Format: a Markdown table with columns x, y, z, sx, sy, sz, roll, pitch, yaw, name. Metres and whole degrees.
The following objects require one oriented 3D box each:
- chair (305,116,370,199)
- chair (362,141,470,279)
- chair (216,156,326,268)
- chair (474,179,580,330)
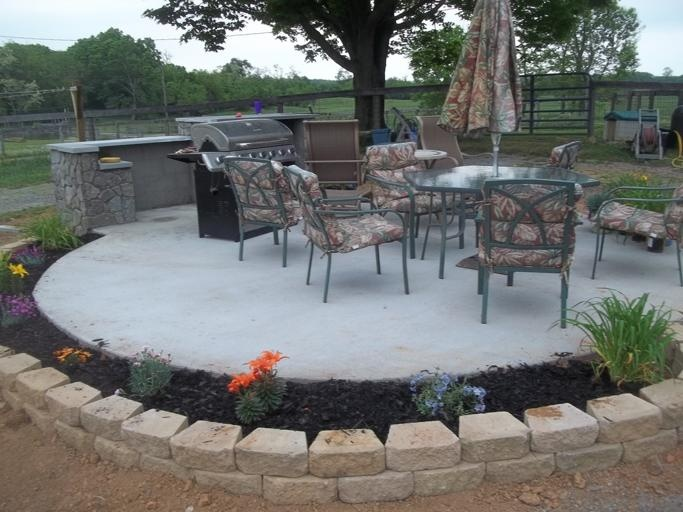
| x | y | z | sx | sy | sz | roll | pitch | yaw | name |
| --- | --- | --- | --- | --- | --- | --- | --- | --- | --- |
| 0.049 | -1.345 | 6.410 | 1.088 | 0.997 | 0.908 | 1 | 24 | 5 | chair |
| 0.753 | -0.694 | 5.356 | 0.818 | 0.726 | 0.843 | -24 | 43 | -35 | chair |
| -0.525 | -0.448 | 5.173 | 1.263 | 0.893 | 1.090 | 6 | 13 | 20 | chair |
| 1.229 | -0.025 | 3.420 | 0.615 | 0.992 | 0.245 | 2 | 19 | 9 | chair |
